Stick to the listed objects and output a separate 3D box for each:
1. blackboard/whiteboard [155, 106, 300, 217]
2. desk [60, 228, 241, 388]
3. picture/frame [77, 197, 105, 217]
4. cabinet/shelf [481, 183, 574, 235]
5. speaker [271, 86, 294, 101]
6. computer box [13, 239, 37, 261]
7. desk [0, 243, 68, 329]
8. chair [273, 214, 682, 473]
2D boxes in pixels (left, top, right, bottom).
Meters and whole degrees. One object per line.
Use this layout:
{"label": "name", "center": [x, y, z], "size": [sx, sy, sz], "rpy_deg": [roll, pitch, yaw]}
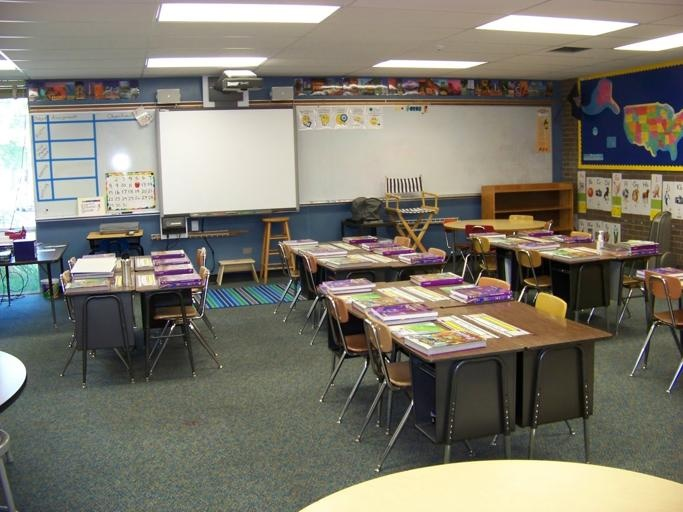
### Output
{"label": "blackboard/whiteboard", "center": [-2.076, -1.665, 8.927], "size": [2.175, 1.390, 0.203], "rpy_deg": [-2, 5, -6]}
{"label": "desk", "center": [-2.197, 0.620, 5.732], "size": [1.508, 1.132, 1.513], "rpy_deg": [-5, 12, -12]}
{"label": "picture/frame", "center": [-4.211, -0.823, 8.658], "size": [0.375, 0.248, 0.038], "rpy_deg": [1, 2, -18]}
{"label": "cabinet/shelf", "center": [3.447, -0.909, 9.780], "size": [1.305, 0.860, 0.360], "rpy_deg": [-3, 4, -23]}
{"label": "speaker", "center": [-1.033, -2.814, 9.015], "size": [0.400, 0.238, 0.085], "rpy_deg": [0, 7, -8]}
{"label": "computer box", "center": [-4.110, -0.079, 6.729], "size": [0.293, 0.255, 0.279], "rpy_deg": [-1, 6, -17]}
{"label": "desk", "center": [-4.512, 0.463, 7.601], "size": [0.654, 0.537, 1.150], "rpy_deg": [-2, 11, -14]}
{"label": "chair", "center": [1.066, 0.481, 3.439], "size": [1.161, 0.720, 1.558], "rpy_deg": [-2, 7, -15]}
